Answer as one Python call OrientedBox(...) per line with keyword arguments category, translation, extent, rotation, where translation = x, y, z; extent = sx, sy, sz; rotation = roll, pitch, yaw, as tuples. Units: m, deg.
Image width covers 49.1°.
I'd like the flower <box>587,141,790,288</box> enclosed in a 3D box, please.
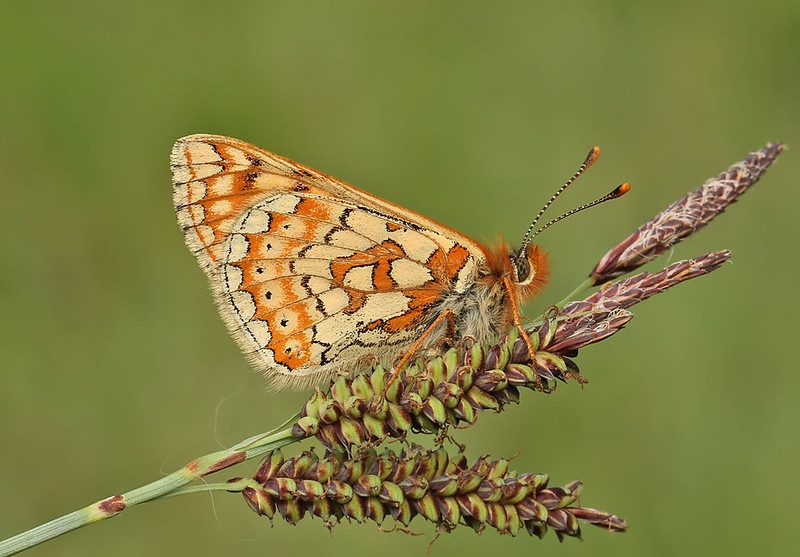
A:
OrientedBox(category="flower", translation=(1.579, -0.280, 4.894), extent=(1.233, 0.204, 0.240), rotation=(-34, 68, -3))
